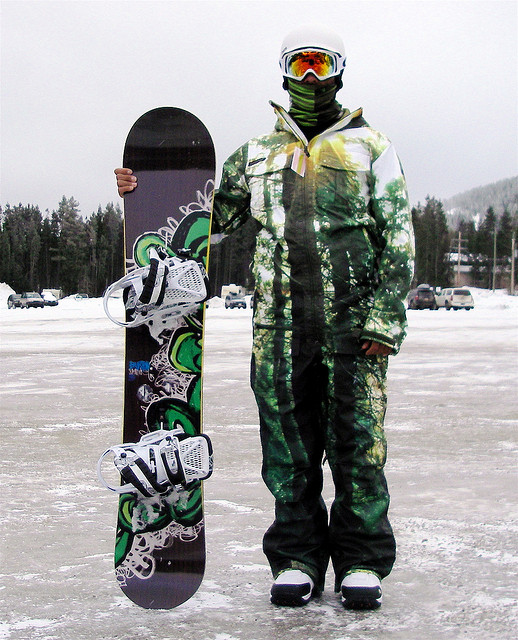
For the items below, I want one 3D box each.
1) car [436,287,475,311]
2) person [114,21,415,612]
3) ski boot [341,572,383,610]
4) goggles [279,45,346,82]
[{"bbox_3d":[8.857,-1.009,40.934,0.969,0.782,2.045,0,6,-7],"label":"car"},{"bbox_3d":[0.161,-0.060,2.948,0.668,1.898,0.423,-1,-1,18],"label":"person"},{"bbox_3d":[0.315,0.833,2.771,0.126,0.098,0.135,0,-1,7],"label":"ski boot"},{"bbox_3d":[0.178,-0.859,3.028,0.218,0.122,0.110,0,-1,2],"label":"goggles"}]
